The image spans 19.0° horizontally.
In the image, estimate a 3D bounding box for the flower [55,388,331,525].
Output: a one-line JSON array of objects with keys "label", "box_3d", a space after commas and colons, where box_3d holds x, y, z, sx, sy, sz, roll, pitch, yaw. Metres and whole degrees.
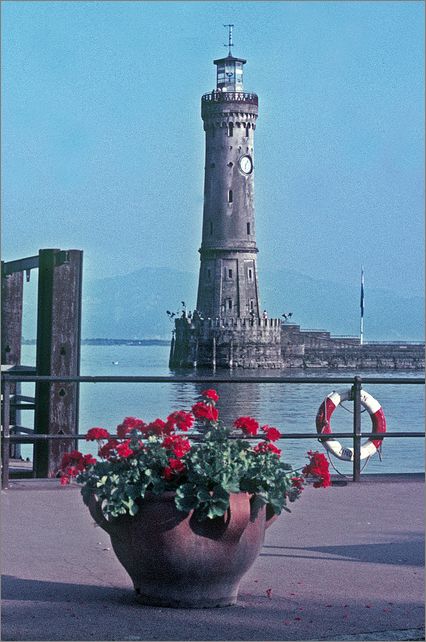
[{"label": "flower", "box_3d": [-0.133, 0.778, 7.020, 1.020, 0.903, 1.068, -17, 4, 0]}]

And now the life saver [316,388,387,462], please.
[{"label": "life saver", "box_3d": [1.286, 1.102, 12.700, 0.764, 0.866, 0.216, -12, 10, -33]}]

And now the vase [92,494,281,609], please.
[{"label": "vase", "box_3d": [-0.145, 1.189, 6.850, 1.038, 0.698, 0.770, 0, 1, 7]}]
